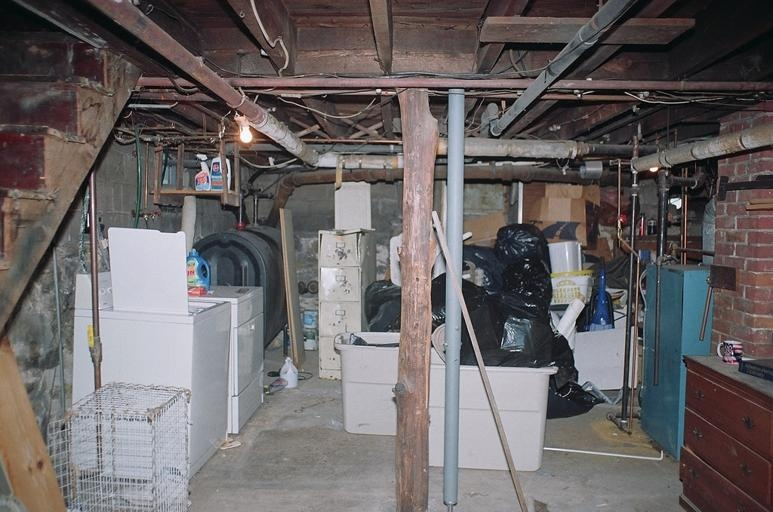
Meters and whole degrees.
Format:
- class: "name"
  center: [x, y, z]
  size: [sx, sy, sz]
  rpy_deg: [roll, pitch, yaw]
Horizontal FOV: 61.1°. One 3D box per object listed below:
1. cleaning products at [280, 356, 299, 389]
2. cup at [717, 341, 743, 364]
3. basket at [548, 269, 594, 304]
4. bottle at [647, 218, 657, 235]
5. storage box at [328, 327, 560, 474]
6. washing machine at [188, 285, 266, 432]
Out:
- class: "cleaning products"
  center: [-1.000, 1.230, 6.958]
  size: [0.244, 0.390, 0.328]
  rpy_deg: [1, -2, -4]
- class: "cup"
  center: [2.659, 0.747, 5.052]
  size: [0.131, 0.170, 0.200]
  rpy_deg: [7, -8, -39]
- class: "basket"
  center: [1.973, 0.327, 6.999]
  size: [0.401, 0.293, 0.338]
  rpy_deg: [0, -8, 18]
- class: "bottle"
  center: [3.031, -0.332, 7.482]
  size: [0.085, 0.176, 0.327]
  rpy_deg: [2, 1, 21]
- class: "storage box"
  center: [0.479, 1.210, 5.705]
  size: [1.760, 0.790, 1.128]
  rpy_deg: [0, -2, 9]
- class: "washing machine"
  center: [-1.571, 1.066, 6.376]
  size: [0.644, 1.081, 1.124]
  rpy_deg: [0, 0, -1]
